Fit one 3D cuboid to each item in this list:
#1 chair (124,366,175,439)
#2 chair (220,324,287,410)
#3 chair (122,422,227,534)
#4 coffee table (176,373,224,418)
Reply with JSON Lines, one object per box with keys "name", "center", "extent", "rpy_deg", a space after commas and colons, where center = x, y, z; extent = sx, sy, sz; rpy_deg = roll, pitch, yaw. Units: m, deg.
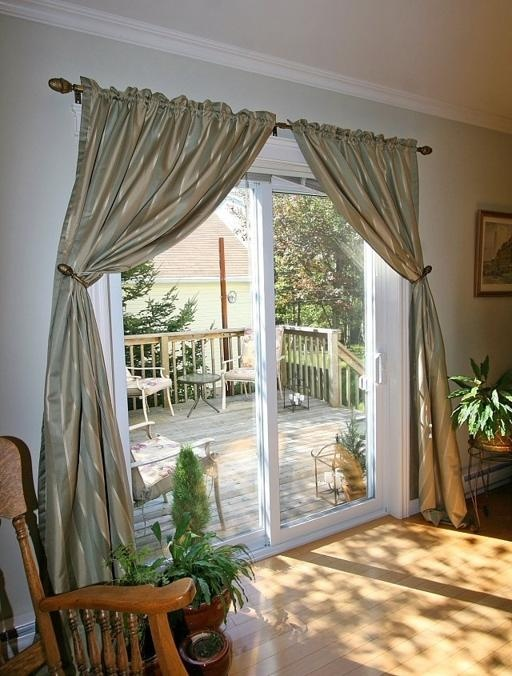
{"name": "chair", "center": [-0.532, 0.246, 2.212], "extent": [0.210, 0.375, 0.209], "rpy_deg": [-5, 8, 17]}
{"name": "chair", "center": [-0.025, 0.154, 2.416], "extent": [0.294, 0.429, 0.315], "rpy_deg": [0, -1, -21]}
{"name": "chair", "center": [-0.380, 0.582, 2.205], "extent": [0.337, 0.541, 0.322], "rpy_deg": [-6, 9, -28]}
{"name": "coffee table", "center": [-0.274, 0.289, 2.357], "extent": [0.202, 0.188, 0.203], "rpy_deg": [6, -10, -38]}
